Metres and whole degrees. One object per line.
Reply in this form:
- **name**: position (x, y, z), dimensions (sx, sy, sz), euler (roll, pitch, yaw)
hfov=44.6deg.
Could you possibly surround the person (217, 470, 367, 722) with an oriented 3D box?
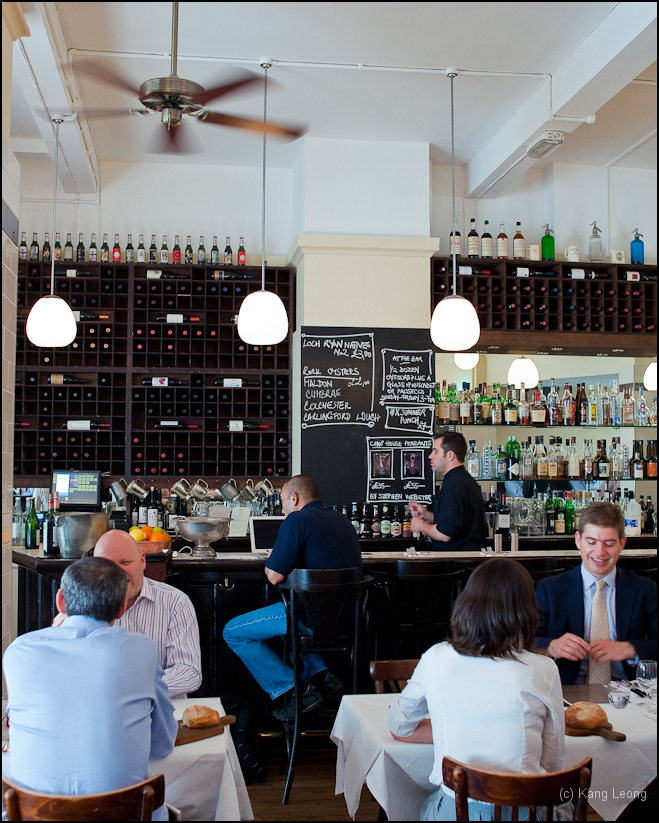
- **person**: position (-0.121, 0.839, 3.708), dimensions (0.555, 1.136, 0.579), euler (-4, -10, 35)

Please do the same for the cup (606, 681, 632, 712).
- **cup**: position (0.833, 0.811, 2.307), dimensions (0.050, 0.058, 0.065), euler (0, -8, -2)

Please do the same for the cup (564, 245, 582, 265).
- **cup**: position (1.877, -1.200, 6.135), dimensions (0.127, 0.171, 0.143), euler (1, -3, -5)

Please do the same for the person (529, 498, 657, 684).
- **person**: position (0.995, 0.675, 3.065), dimensions (0.365, 1.013, 0.489), euler (0, -29, 9)

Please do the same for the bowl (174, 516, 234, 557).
- **bowl**: position (-0.622, 0.609, 4.044), dimensions (0.182, 0.165, 0.214), euler (0, -7, 1)

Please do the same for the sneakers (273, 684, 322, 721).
- **sneakers**: position (-0.136, 1.296, 3.575), dimensions (0.126, 0.126, 0.307), euler (-7, -24, -44)
